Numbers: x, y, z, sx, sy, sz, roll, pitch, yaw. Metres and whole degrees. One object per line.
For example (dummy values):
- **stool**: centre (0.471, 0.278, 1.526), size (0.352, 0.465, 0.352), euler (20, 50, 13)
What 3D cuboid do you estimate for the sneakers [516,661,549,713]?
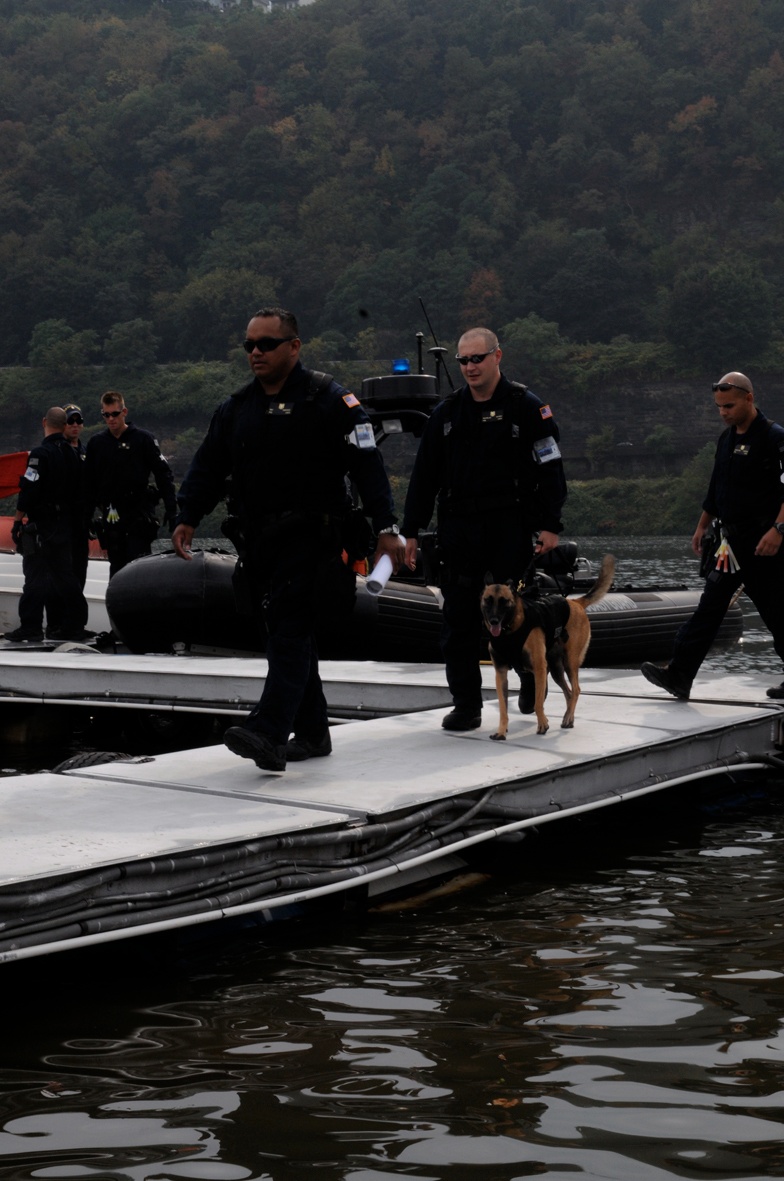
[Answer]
- **sneakers**: centre (0.451, 0.346, 5.824), size (0.111, 0.130, 0.046), euler (8, 0, -17)

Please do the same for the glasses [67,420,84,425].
- **glasses**: centre (-1.783, -0.940, 9.626), size (0.076, 0.024, 0.075), euler (2, 4, -33)

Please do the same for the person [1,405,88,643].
- **person**: centre (-1.868, -0.330, 9.299), size (0.468, 1.274, 0.568), euler (-4, 9, -19)

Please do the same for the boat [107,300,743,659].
- **boat**: centre (0.299, -0.408, 8.918), size (3.577, 1.543, 1.161), euler (-18, 4, 45)

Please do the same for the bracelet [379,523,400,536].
- **bracelet**: centre (-0.012, -0.162, 4.675), size (0.049, 0.026, 0.037), euler (-14, -17, 18)

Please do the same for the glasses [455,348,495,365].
- **glasses**: centre (0.252, -0.721, 5.358), size (0.115, 0.053, 0.123), euler (0, 7, 8)

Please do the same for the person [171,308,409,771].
- **person**: centre (-0.299, -0.137, 4.831), size (0.613, 1.285, 0.711), euler (-2, 9, -9)

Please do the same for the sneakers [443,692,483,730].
- **sneakers**: centre (0.223, 0.413, 5.565), size (0.061, 0.070, 0.157), euler (-6, -9, 26)

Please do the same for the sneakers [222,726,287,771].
- **sneakers**: centre (-0.366, 0.426, 4.646), size (0.141, 0.048, 0.068), euler (35, -18, -10)

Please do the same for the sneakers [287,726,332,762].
- **sneakers**: centre (-0.237, 0.454, 4.980), size (0.056, 0.065, 0.160), euler (-6, -8, 23)

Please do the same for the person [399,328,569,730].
- **person**: centre (0.282, -0.188, 5.521), size (0.536, 1.287, 0.493), euler (0, 9, 8)

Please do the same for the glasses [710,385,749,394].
- **glasses**: centre (1.201, -0.710, 6.093), size (0.129, 0.038, 0.143), euler (0, 7, 7)

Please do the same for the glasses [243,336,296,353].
- **glasses**: centre (-0.336, -0.680, 4.788), size (0.157, 0.049, 0.108), euler (-3, 8, -14)
